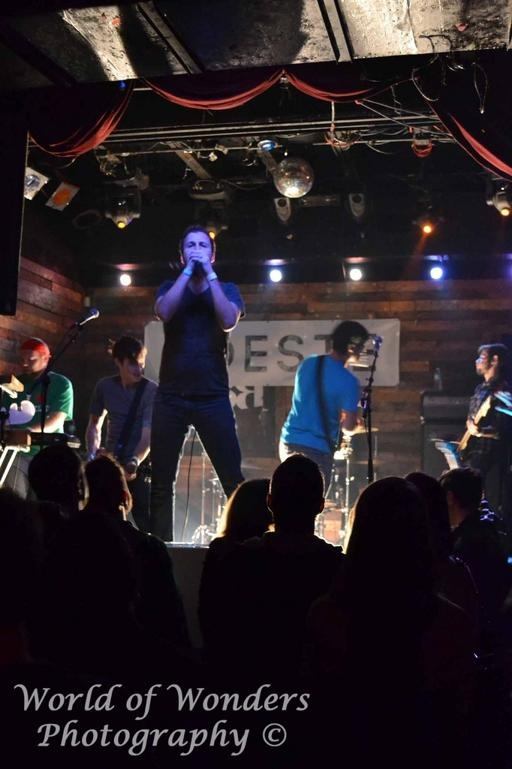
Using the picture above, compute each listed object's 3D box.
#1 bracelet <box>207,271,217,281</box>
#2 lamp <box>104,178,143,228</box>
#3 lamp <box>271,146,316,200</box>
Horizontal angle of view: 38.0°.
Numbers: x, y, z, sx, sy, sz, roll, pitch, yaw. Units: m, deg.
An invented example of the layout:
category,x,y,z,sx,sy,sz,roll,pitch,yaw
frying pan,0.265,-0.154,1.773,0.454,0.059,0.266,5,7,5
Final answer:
category,x,y,z,sx,sy,sz,roll,pitch,yaw
bracelet,-0.211,-0.515,3.534,0.057,0.037,0.059,-2,17,-2
lamp,-1.127,-1.556,6.375,0.273,0.351,0.169,2,9,8
lamp,0.280,-1.630,5.747,0.284,0.308,0.216,4,-1,-16
